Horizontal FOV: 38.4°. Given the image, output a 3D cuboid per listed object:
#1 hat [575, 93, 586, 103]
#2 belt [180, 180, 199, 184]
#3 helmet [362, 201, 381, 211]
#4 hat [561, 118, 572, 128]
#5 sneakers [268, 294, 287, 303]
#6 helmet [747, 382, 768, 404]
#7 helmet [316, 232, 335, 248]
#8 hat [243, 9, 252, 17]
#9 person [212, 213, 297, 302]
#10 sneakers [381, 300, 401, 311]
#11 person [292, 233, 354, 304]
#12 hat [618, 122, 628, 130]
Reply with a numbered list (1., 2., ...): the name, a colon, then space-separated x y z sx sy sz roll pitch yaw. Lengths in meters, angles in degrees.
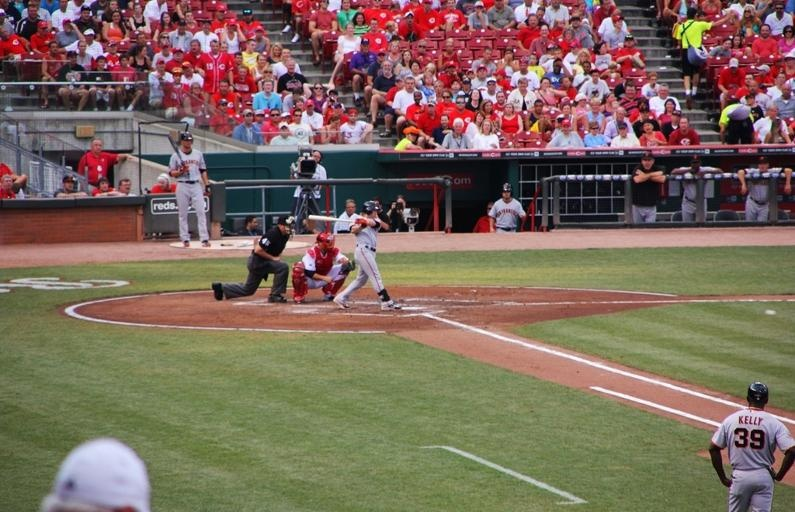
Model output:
1. hat: 5.443 -4.696 33.918 0.244 0.224 0.301 -3 -7 -35
2. belt: -5.096 -1.809 27.891 0.405 0.080 0.124 -1 3 -27
3. helmet: -0.506 -0.969 22.324 0.306 0.199 0.447 0 3 -3
4. hat: 4.829 -3.833 32.891 0.246 0.284 0.316 1 3 7
5. sneakers: -2.479 0.880 23.528 0.343 0.164 0.160 -1 5 6
6. helmet: 5.356 2.011 17.002 0.312 0.202 0.424 5 20 14
7. helmet: -1.451 -0.317 23.043 0.390 0.287 0.279 -3 14 -3
8. hat: -4.739 -7.621 35.939 0.377 0.160 0.488 -1 9 -6
9. person: -2.891 0.071 23.432 1.492 1.763 0.848 1 3 1
10. sneakers: -0.177 0.977 22.686 0.466 0.188 0.161 0 18 -8
11. person: -1.649 0.243 23.472 1.341 1.366 1.037 -1 12 -23
12. hat: 6.482 -3.783 32.876 0.245 0.189 0.212 1 3 8
